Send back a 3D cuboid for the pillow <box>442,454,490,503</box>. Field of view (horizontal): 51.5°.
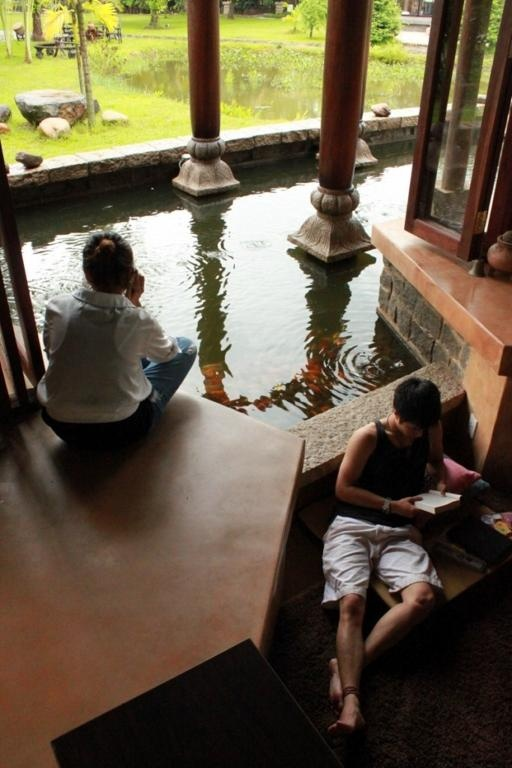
[{"bbox_3d":[1.030,0.451,2.522,0.242,0.072,0.211,36,46,-26],"label":"pillow"}]

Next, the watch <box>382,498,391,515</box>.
[{"bbox_3d":[0.542,0.510,2.215,0.033,0.054,0.054,5,45,21],"label":"watch"}]
